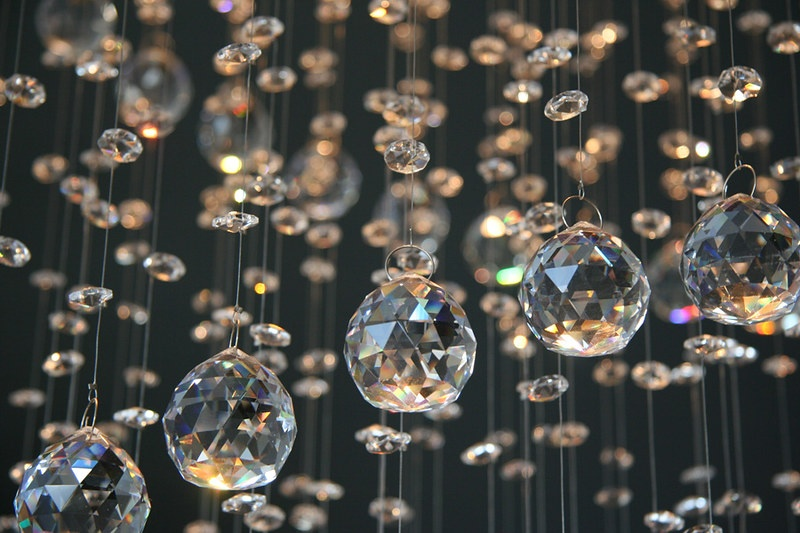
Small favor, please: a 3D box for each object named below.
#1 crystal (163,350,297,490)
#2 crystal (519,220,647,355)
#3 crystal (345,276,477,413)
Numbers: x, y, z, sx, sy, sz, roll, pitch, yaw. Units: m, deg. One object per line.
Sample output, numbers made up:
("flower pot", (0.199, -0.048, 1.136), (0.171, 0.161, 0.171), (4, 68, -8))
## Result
("crystal", (-0.620, 0.552, 6.984), (0.510, 0.501, 0.467), (-5, -10, 21))
("crystal", (0.649, 0.111, 7.022), (0.460, 0.476, 0.464), (10, -15, -37))
("crystal", (0.031, 0.327, 7.087), (0.483, 0.500, 0.489), (-14, -18, 40))
